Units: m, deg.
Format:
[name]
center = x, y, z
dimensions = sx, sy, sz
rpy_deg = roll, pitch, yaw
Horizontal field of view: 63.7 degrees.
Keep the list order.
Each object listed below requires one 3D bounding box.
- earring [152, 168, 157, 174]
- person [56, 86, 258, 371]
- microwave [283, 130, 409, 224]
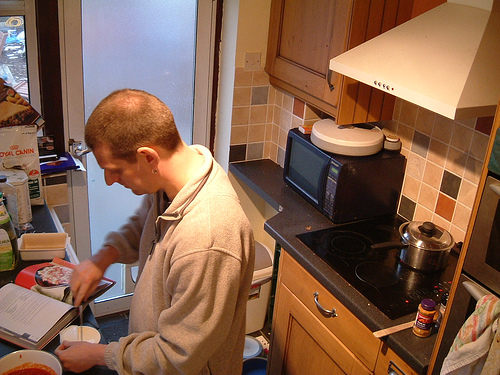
[earring]
center = -0.312, -0.057, 1.305
dimensions = 0.017, 0.018, 0.006
rpy_deg = 2, 0, 7
[person]
center = -0.296, 0.217, 1.366
dimensions = 0.594, 1.059, 0.395
rpy_deg = 0, 16, 8
[microwave]
center = 0.534, -0.093, 2.459
dimensions = 0.453, 0.389, 0.649
rpy_deg = -3, 24, -18
